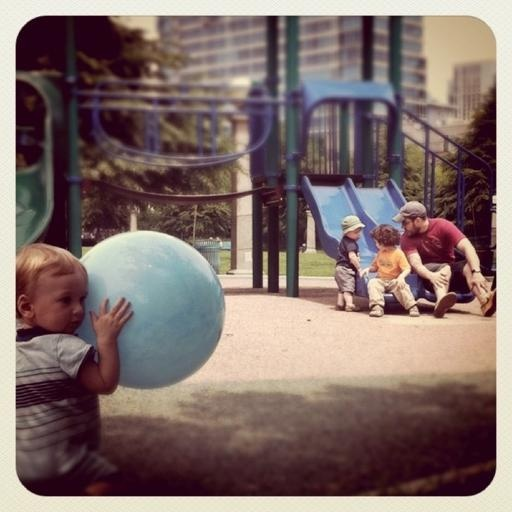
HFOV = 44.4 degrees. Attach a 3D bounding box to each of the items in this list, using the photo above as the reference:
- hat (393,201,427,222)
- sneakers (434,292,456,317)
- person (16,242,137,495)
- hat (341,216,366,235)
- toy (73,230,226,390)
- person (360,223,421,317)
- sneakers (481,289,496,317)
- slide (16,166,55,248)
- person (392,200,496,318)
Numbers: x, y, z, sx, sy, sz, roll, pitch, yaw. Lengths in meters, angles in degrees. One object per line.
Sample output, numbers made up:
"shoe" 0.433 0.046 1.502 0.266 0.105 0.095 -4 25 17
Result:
"hat" 1.613 -0.467 6.526 0.272 0.193 0.205 -1 8 4
"sneakers" 1.787 0.458 5.899 0.167 0.262 0.200 -4 9 -25
"person" -0.685 0.441 2.362 0.441 0.972 0.314 -4 8 -26
"hat" 1.055 -0.363 6.834 0.192 0.130 0.201 -20 9 4
"toy" -0.467 0.245 2.705 0.604 0.614 0.574 21 -35 -14
"person" 1.325 0.156 6.261 0.501 0.895 0.566 -1 8 0
"sneakers" 2.214 0.464 5.967 0.112 0.296 0.086 19 17 35
"slide" -1.621 -0.374 4.611 0.366 0.634 0.119 -6 -8 8
"person" 1.808 -0.011 6.197 0.659 1.103 1.473 -14 8 -1
